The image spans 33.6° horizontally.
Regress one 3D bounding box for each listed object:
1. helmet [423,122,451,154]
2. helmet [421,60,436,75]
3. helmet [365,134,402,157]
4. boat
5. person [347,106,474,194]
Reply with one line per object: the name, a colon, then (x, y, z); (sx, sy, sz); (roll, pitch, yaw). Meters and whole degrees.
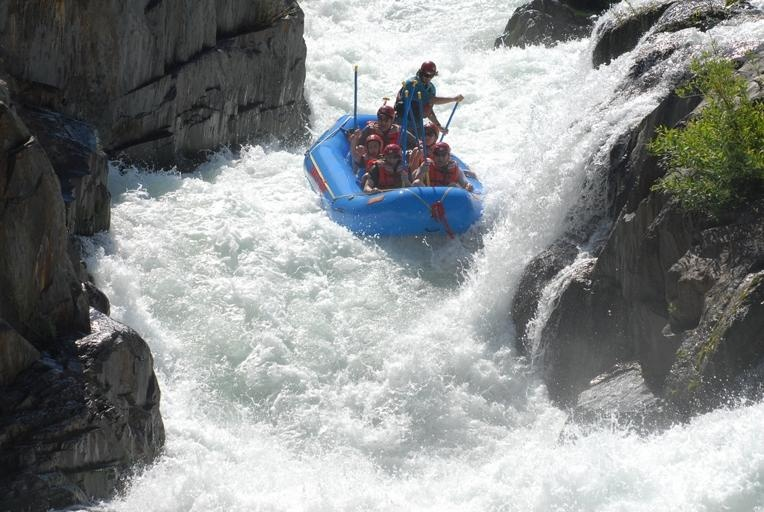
helmet: (0.829, -2.044, 20.473); (0.409, 0.629, 0.261); (6, 18, -23)
helmet: (0.767, -3.058, 20.533); (0.223, 0.188, 0.175); (-22, 65, -41)
helmet: (-0.009, -1.693, 19.738); (0.488, 0.323, 0.365); (-2, 41, 1)
boat: (-0.351, -1.049, 19.585); (1.434, 0.590, 2.504); (-5, 31, -15)
person: (0.411, -1.658, 20.175); (1.021, 0.384, 1.812); (-5, 27, -9)
